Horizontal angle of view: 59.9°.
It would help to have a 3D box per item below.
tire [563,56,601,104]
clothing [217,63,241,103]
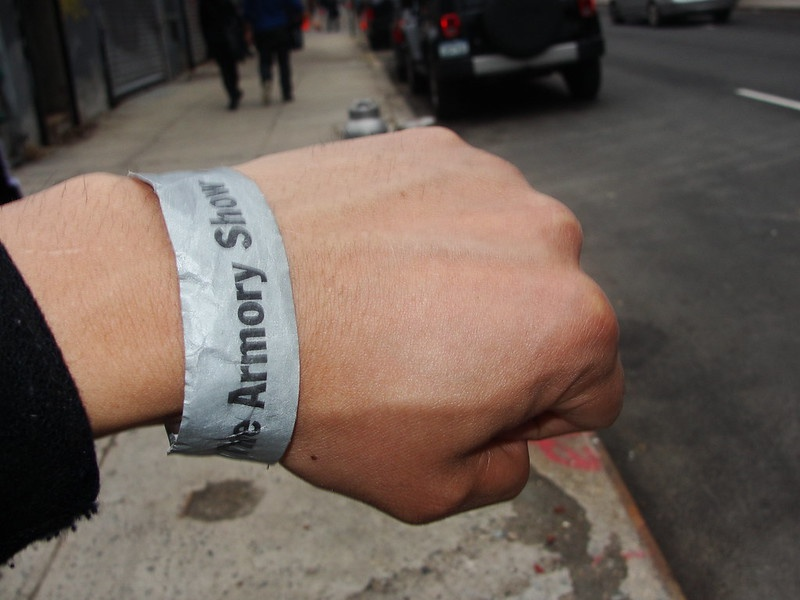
[{"bbox_3d":[0.568,-0.702,2.190,0.029,0.122,0.090,-34,45,-22],"label":"tire"},{"bbox_3d":[-2.065,-2.679,8.442,0.268,0.510,0.129,-18,18,-27],"label":"clothing"}]
